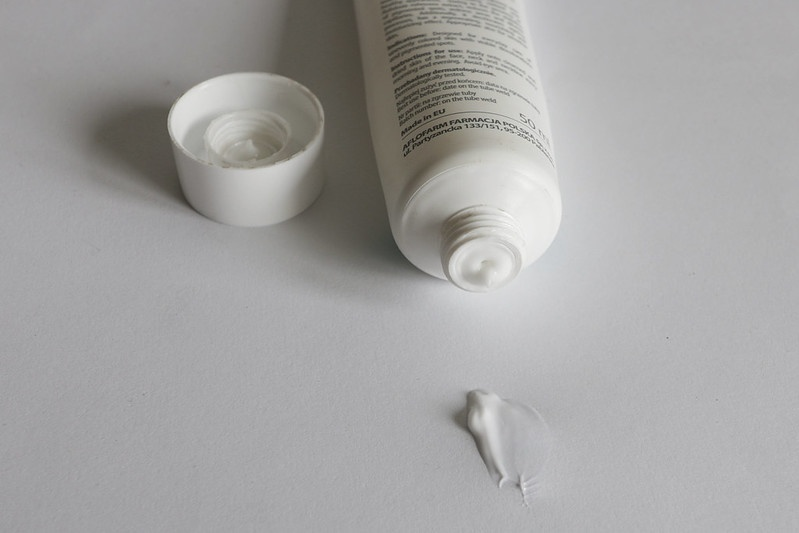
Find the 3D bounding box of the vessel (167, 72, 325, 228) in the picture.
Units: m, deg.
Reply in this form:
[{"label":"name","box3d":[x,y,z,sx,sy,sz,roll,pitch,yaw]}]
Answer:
[{"label":"vessel","box3d":[-0.148,-0.117,0.887,0.154,0.081,0.167,-21,54,-20]}]
